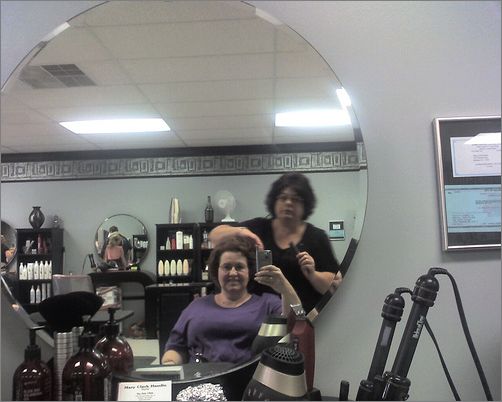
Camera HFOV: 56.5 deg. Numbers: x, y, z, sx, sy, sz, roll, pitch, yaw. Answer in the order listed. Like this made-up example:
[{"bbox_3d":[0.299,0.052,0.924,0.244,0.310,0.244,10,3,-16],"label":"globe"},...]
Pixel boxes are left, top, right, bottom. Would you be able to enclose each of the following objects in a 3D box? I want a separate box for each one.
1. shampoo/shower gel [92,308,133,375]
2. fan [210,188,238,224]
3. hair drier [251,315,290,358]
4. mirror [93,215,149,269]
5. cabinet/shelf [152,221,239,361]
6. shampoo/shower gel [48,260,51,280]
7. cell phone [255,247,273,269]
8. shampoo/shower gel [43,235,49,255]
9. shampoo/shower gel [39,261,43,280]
[{"bbox_3d":[-0.488,0.495,1.649,0.133,0.246,0.132,-2,-2,18],"label":"shampoo/shower gel"},{"bbox_3d":[-0.094,0.014,1.671,0.078,0.130,0.057,-3,21,16],"label":"fan"},{"bbox_3d":[0.072,0.472,1.650,0.123,0.138,0.086,5,-14,31],"label":"hair drier"},{"bbox_3d":[-0.445,0.148,1.625,0.160,0.182,0.008,0,-5,2],"label":"mirror"},{"bbox_3d":[-0.250,0.359,1.644,0.216,0.565,0.124,0,-2,-11],"label":"cabinet/shelf"},{"bbox_3d":[-0.698,0.239,1.623,0.009,0.053,0.016,-2,1,-43],"label":"shampoo/shower gel"},{"bbox_3d":[0.043,0.203,1.661,0.067,0.131,0.017,1,-4,-10],"label":"cell phone"},{"bbox_3d":[-0.704,0.154,1.617,0.021,0.052,0.011,-2,1,1],"label":"shampoo/shower gel"},{"bbox_3d":[-0.727,0.239,1.624,0.023,0.054,0.009,-1,1,20],"label":"shampoo/shower gel"}]
